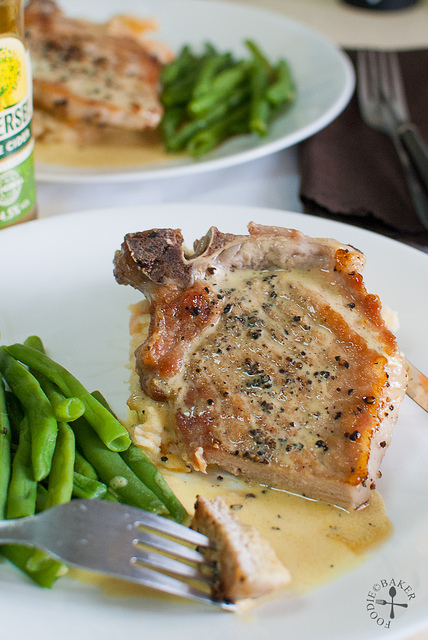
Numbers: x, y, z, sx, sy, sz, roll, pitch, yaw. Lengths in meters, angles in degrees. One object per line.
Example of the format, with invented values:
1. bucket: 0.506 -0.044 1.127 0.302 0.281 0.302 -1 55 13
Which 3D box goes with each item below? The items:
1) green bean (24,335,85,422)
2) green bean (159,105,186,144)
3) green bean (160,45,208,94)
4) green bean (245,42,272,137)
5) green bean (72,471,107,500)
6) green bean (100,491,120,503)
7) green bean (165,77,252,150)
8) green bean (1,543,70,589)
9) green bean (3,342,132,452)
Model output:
1. green bean: -0.605 0.172 2.363 0.212 0.146 0.779 34 -4 -21
2. green bean: -0.239 -1.120 3.646 0.079 0.079 0.288 -5 45 42
3. green bean: -0.135 -1.449 3.756 0.172 0.211 0.842 15 12 -26
4. green bean: 0.268 -1.312 3.685 0.196 0.523 0.121 -4 32 11
5. green bean: -0.359 0.470 1.806 0.110 0.038 0.056 15 56 21
6. green bean: -0.296 0.513 1.846 0.046 0.010 0.025 31 44 9
7. green bean: -0.008 -1.149 3.614 0.540 0.402 0.334 21 38 39
8. green bean: -0.438 0.595 1.655 0.170 0.125 0.050 34 35 -2
9. green bean: -0.543 0.226 2.160 0.168 0.118 0.703 -45 48 -13
